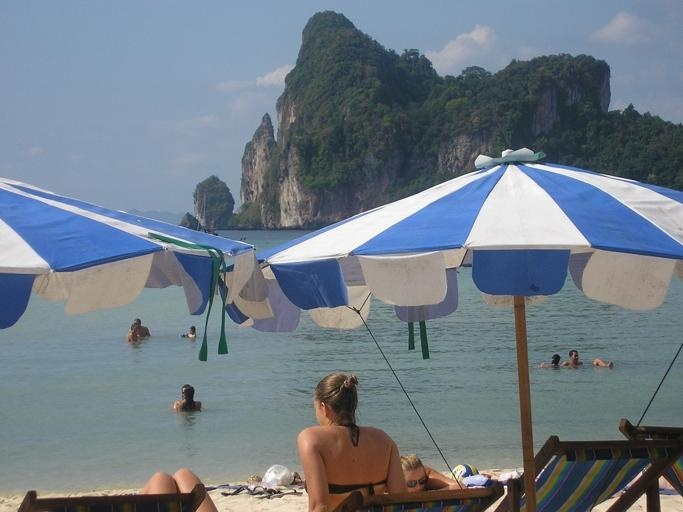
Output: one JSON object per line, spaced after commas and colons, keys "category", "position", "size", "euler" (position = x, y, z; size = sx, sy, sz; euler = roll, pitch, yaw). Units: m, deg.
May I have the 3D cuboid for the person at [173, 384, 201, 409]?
{"category": "person", "position": [-3.793, 3.587, 30.001], "size": [0.826, 0.649, 0.510], "euler": [2, -16, -4]}

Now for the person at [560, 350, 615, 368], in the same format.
{"category": "person", "position": [6.747, 2.970, 34.639], "size": [0.664, 0.450, 1.195], "euler": [1, -19, -9]}
